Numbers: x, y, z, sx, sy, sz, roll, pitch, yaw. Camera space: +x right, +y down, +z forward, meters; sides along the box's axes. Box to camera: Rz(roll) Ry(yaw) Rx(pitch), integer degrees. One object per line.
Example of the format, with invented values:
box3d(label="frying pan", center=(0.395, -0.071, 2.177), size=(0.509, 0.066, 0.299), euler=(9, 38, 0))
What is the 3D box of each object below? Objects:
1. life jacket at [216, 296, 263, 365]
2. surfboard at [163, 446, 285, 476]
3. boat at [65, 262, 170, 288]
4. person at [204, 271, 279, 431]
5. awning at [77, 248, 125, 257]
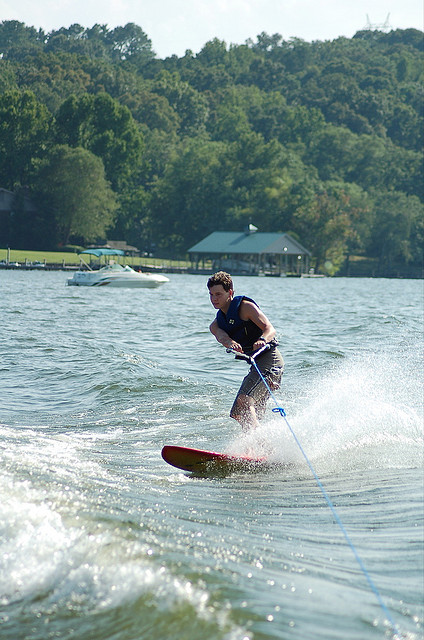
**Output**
box3d(label="life jacket", center=(0.224, 0.038, 6.990), size=(0.363, 0.469, 0.316), euler=(3, 6, -12))
box3d(label="surfboard", center=(0.026, 1.021, 6.525), size=(1.129, 0.266, 0.136), euler=(4, 19, -13))
box3d(label="boat", center=(-4.553, -1.994, 42.975), size=(4.508, 1.424, 1.577), euler=(0, 5, -18))
box3d(label="person", center=(0.229, 0.244, 6.980), size=(0.615, 1.221, 0.546), euler=(5, 6, 4))
box3d(label="awning", center=(-5.180, -3.340, 43.655), size=(1.325, 0.311, 1.323), euler=(2, 2, 16))
